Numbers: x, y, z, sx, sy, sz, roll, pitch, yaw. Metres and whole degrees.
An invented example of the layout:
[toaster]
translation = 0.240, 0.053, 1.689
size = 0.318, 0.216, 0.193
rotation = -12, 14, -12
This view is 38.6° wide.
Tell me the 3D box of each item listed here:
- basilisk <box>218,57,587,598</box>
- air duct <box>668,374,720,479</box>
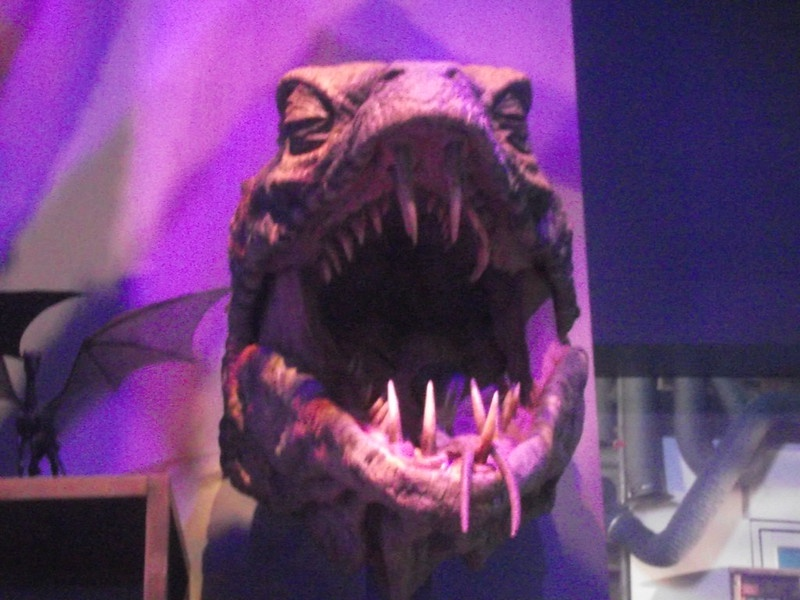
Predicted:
[basilisk]
translation = 0.008, 0.032, 2.655
size = 0.850, 1.050, 0.667
rotation = 3, 25, 10
[air duct]
translation = 0.716, 0.300, 2.797
size = 0.049, 0.251, 0.082
rotation = -2, -1, 22
